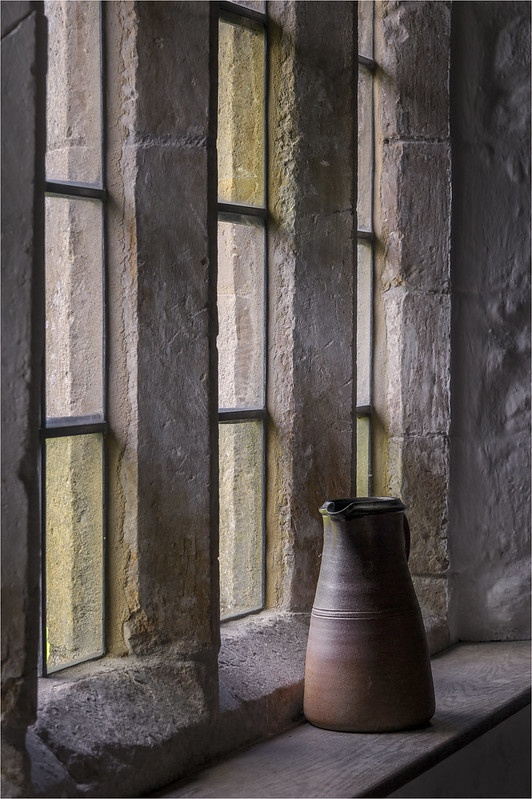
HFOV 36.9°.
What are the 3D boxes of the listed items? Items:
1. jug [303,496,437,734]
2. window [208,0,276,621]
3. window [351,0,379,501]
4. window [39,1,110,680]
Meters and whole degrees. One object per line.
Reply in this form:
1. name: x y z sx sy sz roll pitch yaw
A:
1. jug: 0.189 0.297 1.370 0.219 0.515 0.278 0 -2 35
2. window: -0.039 -0.154 1.325 0.076 1.034 0.153 -3 -3 40
3. window: 0.208 -0.310 1.660 0.056 1.021 0.131 -1 -2 0
4. window: -0.246 -0.088 1.032 0.104 0.873 0.078 1 -3 -39
